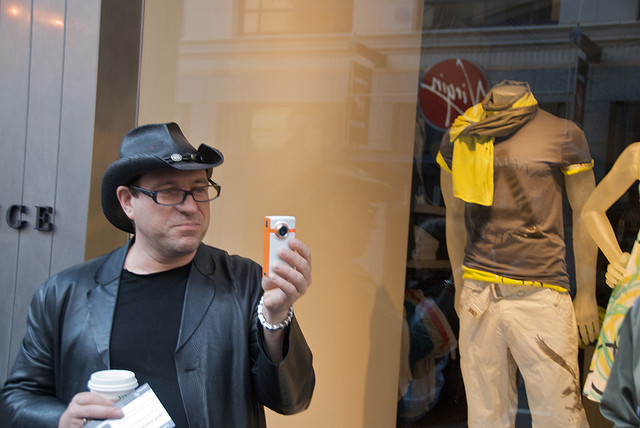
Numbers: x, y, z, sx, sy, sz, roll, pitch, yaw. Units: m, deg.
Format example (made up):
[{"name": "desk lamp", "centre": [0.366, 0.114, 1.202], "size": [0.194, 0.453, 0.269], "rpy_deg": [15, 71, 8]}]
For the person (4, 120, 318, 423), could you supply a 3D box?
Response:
[{"name": "person", "centre": [-0.766, 0.266, 2.964], "size": [1.460, 1.457, 0.670], "rpy_deg": [0, 0, 2]}]

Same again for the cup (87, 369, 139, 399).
[{"name": "cup", "centre": [-0.900, 0.734, 2.686], "size": [0.178, 0.103, 0.157], "rpy_deg": [-1, -2, 37]}]

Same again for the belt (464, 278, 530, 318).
[{"name": "belt", "centre": [0.901, 0.431, 3.195], "size": [0.312, 0.191, 0.061], "rpy_deg": [0, 0, 22]}]

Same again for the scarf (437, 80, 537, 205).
[{"name": "scarf", "centre": [0.851, -0.371, 3.225], "size": [0.462, 0.622, 0.349], "rpy_deg": [3, 13, 24]}]

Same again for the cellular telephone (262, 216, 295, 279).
[{"name": "cellular telephone", "centre": [-0.180, 0.140, 2.663], "size": [0.130, 0.264, 0.095], "rpy_deg": [0, 0, 1]}]

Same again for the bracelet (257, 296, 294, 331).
[{"name": "bracelet", "centre": [-0.202, 0.437, 2.755], "size": [0.156, 0.151, 0.088], "rpy_deg": [0, -1, -6]}]
